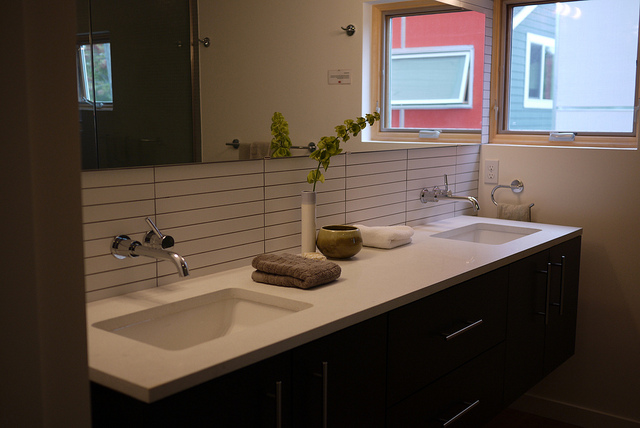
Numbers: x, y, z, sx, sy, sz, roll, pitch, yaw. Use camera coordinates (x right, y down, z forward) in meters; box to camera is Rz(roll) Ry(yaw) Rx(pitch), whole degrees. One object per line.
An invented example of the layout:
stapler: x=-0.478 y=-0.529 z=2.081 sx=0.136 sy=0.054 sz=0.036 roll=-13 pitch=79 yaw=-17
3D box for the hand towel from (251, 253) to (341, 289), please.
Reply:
hand towel: x=-0.087 y=0.196 z=1.617 sx=0.281 sy=0.074 sz=0.161 roll=6 pitch=12 yaw=30

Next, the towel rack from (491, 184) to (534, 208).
towel rack: x=1.154 y=-0.115 z=2.932 sx=0.044 sy=0.140 sz=0.226 roll=-3 pitch=4 yaw=-45

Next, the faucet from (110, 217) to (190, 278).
faucet: x=-0.448 y=0.087 z=1.373 sx=0.209 sy=0.145 sz=0.359 roll=-9 pitch=14 yaw=-43

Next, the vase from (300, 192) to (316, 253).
vase: x=-0.043 y=0.032 z=1.858 sx=0.052 sy=0.240 sz=0.034 roll=2 pitch=10 yaw=8

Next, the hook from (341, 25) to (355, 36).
hook: x=0.126 y=-0.818 z=2.085 sx=0.040 sy=0.055 sz=0.057 roll=8 pitch=11 yaw=28

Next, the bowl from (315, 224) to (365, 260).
bowl: x=0.083 y=0.120 z=1.913 sx=0.183 sy=0.119 sz=0.193 roll=-5 pitch=3 yaw=0

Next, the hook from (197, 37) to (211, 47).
hook: x=-0.379 y=-0.569 z=1.538 sx=0.005 sy=0.031 sz=0.047 roll=9 pitch=13 yaw=40

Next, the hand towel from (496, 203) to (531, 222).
hand towel: x=1.191 y=-0.012 z=2.862 sx=0.185 sy=0.091 sz=0.096 roll=4 pitch=11 yaw=17
